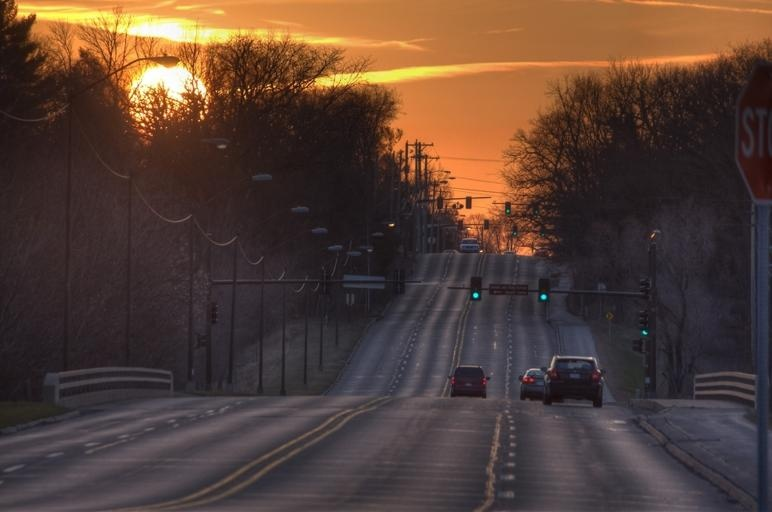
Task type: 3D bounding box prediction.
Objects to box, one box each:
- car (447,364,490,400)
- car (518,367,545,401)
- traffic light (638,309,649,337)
[{"bbox_3d":[5.381,8.287,71.489,2.177,2.019,1.289,-3,7,-3],"label":"car"},{"bbox_3d":[8.747,7.682,65.811,1.081,1.134,2.439,0,0,2],"label":"car"},{"bbox_3d":[14.685,3.828,62.673,0.418,1.405,0.950,-1,7,9],"label":"traffic light"}]
